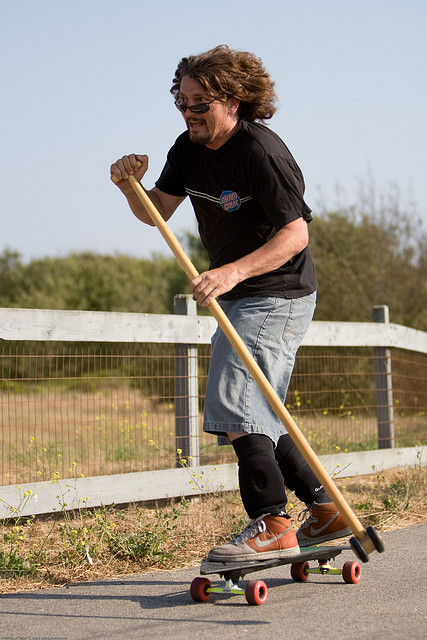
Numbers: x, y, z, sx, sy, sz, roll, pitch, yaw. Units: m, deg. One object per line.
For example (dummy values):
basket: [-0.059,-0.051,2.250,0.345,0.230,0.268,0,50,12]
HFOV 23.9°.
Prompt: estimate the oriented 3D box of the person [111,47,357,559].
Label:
person: [0.086,-0.088,4.260,0.836,1.911,0.687,-4,-1,4]

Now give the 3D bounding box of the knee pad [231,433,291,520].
knee pad: [0.192,0.631,4.102,0.206,0.311,0.139,-4,-1,-3]

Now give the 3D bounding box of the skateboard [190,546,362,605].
skateboard: [0.251,1.024,4.168,0.688,0.165,0.277,2,-5,-44]
